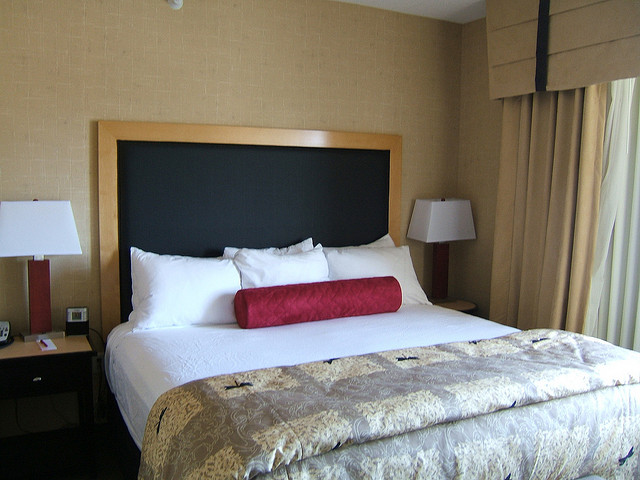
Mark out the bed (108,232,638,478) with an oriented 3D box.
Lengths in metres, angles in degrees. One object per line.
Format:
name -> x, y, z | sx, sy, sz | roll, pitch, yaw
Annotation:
bed -> 0.200, 0.632, 3.097 | 2.650, 0.880, 2.115 | -5, 13, -25

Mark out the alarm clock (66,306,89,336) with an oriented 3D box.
alarm clock -> -1.631, 0.539, 3.515 | 0.142, 0.207, 0.115 | -1, 12, -28

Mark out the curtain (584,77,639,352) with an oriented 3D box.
curtain -> 1.973, -0.166, 3.433 | 0.296, 1.734, 0.280 | 6, 12, 28

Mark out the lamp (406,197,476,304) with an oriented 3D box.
lamp -> 0.980, 0.088, 4.490 | 0.444, 0.882, 0.325 | -1, -9, -35

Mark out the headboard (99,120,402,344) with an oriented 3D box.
headboard -> -0.578, -0.045, 3.683 | 1.458, 1.152, 0.050 | 0, 3, -21
